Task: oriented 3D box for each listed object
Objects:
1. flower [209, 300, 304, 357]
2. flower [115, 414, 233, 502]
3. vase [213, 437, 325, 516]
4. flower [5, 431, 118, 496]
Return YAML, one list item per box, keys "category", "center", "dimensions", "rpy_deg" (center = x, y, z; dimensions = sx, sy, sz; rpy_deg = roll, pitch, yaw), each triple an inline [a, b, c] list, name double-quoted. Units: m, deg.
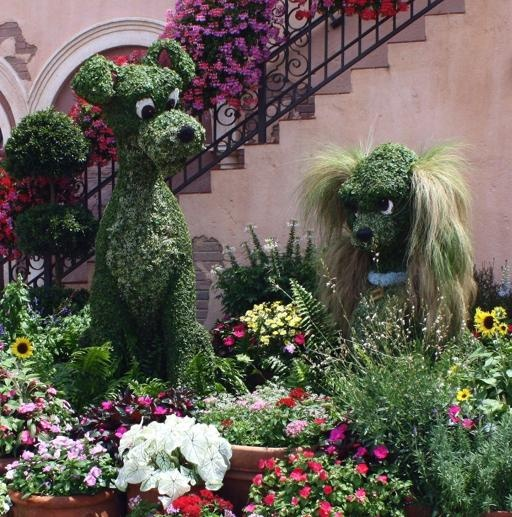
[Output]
- category: "flower"
  center: [0.042, 0.489, 7.253]
  dimensions: [0.516, 0.271, 0.426]
  rpy_deg: [1, 11, 10]
- category: "flower"
  center: [-0.452, 1.093, 5.862]
  dimensions: [0.501, 0.257, 0.504]
  rpy_deg: [23, 28, 36]
- category: "vase"
  center: [-0.013, 1.187, 5.844]
  dimensions: [0.421, 0.270, 0.400]
  rpy_deg: [1, -9, -1]
- category: "flower"
  center: [-1.050, 1.155, 5.909]
  dimensions: [0.422, 0.186, 0.381]
  rpy_deg: [1, 11, -5]
